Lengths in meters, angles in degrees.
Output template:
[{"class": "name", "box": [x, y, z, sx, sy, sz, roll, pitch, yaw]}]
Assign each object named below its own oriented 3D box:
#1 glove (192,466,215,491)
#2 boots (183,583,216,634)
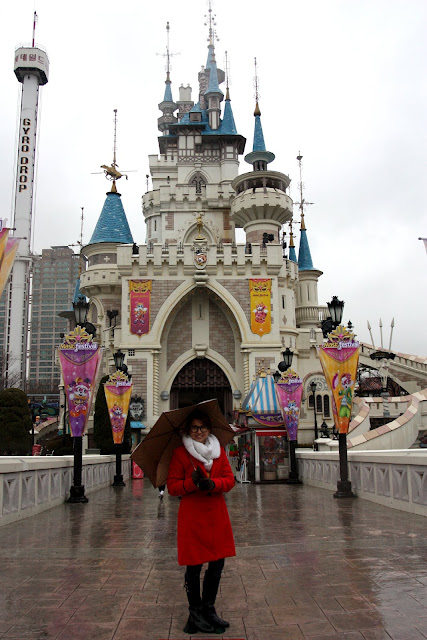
[{"class": "glove", "box": [-0.063, 1.047, 3.536, 0.143, 0.159, 0.101, 1, -6, -11]}, {"class": "boots", "box": [-0.090, 1.845, 3.502, 0.188, 0.242, 0.233, 0, -6, 0]}]
